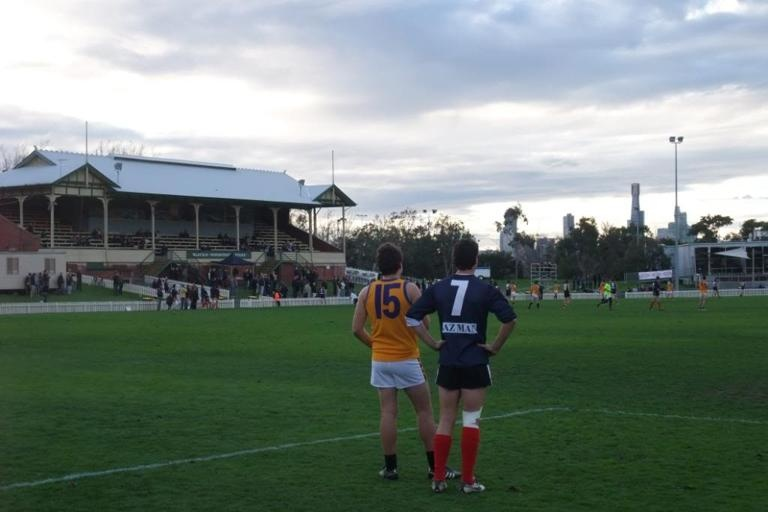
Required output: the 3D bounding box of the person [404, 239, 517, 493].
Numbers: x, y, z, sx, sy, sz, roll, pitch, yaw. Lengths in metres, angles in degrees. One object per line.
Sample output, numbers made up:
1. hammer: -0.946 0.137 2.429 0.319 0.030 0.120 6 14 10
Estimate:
1. person: 1.266 1.809 15.878 1.563 4.074 0.883 0 10 2
